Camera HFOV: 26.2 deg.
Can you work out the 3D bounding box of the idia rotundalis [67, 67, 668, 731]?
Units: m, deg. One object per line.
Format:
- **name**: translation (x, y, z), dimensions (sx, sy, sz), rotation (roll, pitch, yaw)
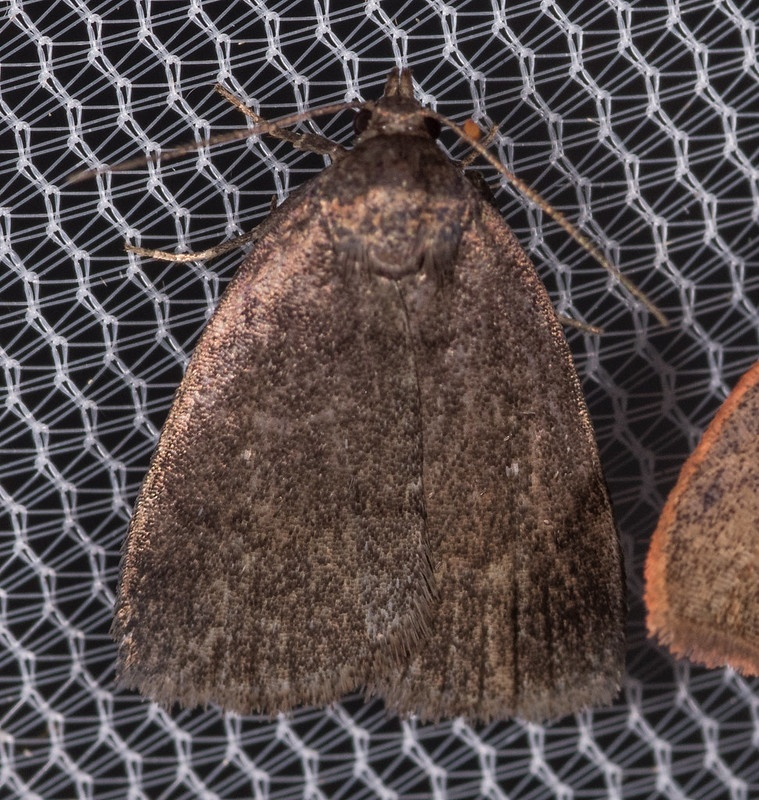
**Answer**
- **idia rotundalis**: translation (-0.086, 0.001, 5.201), dimensions (1.926, 0.544, 2.154), rotation (2, 92, -2)
